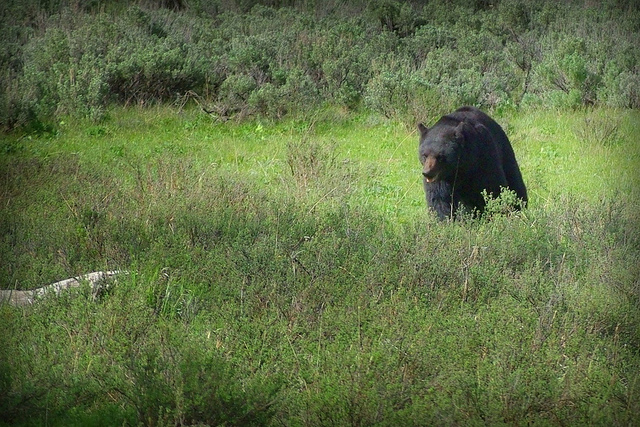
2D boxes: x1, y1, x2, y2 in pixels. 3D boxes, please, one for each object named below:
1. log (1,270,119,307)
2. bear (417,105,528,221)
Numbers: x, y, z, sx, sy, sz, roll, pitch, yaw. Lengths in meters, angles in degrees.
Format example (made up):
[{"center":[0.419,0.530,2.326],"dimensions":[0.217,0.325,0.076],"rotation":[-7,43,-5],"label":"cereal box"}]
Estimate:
[{"center":[-2.721,0.795,7.004],"dimensions":[0.695,0.112,0.113],"rotation":[-19,14,-9],"label":"log"},{"center":[1.914,-0.726,8.772],"dimensions":[0.875,1.510,1.771],"rotation":[1,10,44],"label":"bear"}]
